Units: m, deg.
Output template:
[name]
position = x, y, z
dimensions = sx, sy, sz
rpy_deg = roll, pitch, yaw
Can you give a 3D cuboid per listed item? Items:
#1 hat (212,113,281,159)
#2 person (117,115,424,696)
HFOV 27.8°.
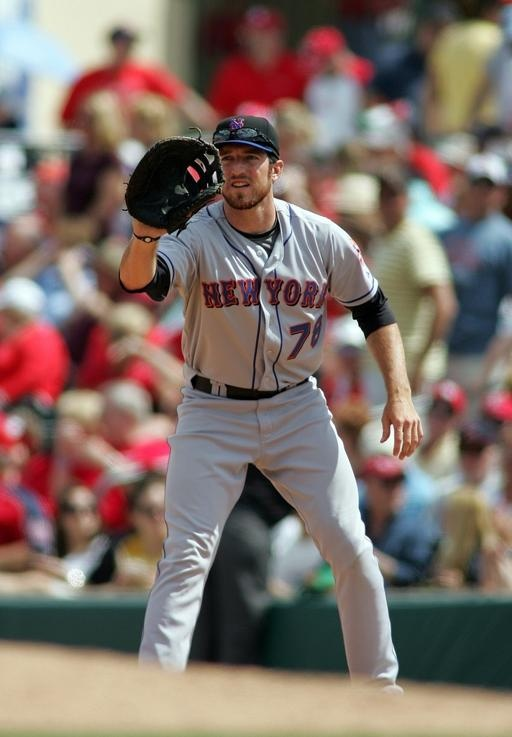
[hat]
position = -0.025, -0.674, 3.027
dimensions = 0.135, 0.162, 0.075
rpy_deg = 2, 72, 14
[person]
position = -0.008, 0.073, 2.988
dimensions = 1.094, 1.616, 0.558
rpy_deg = 12, -16, -34
